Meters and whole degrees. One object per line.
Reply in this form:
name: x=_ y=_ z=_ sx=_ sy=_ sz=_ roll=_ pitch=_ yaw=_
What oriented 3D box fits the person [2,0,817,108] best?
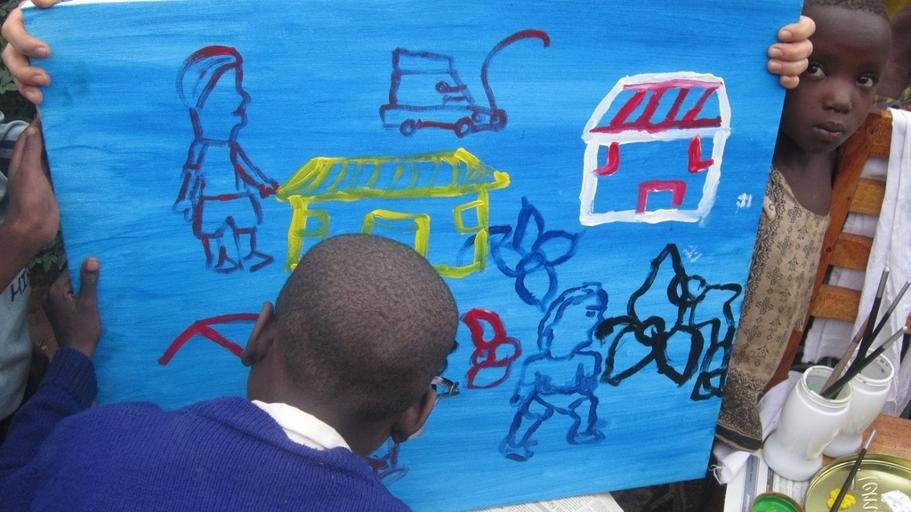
person: x=-0.123 y=-0.692 z=2.499 sx=2.620 sy=0.344 sz=0.108 roll=-2 pitch=17 yaw=-3

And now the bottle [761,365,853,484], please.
bottle: x=1.339 y=0.658 z=2.885 sx=0.279 sy=0.416 sz=0.220 roll=13 pitch=47 yaw=-1
